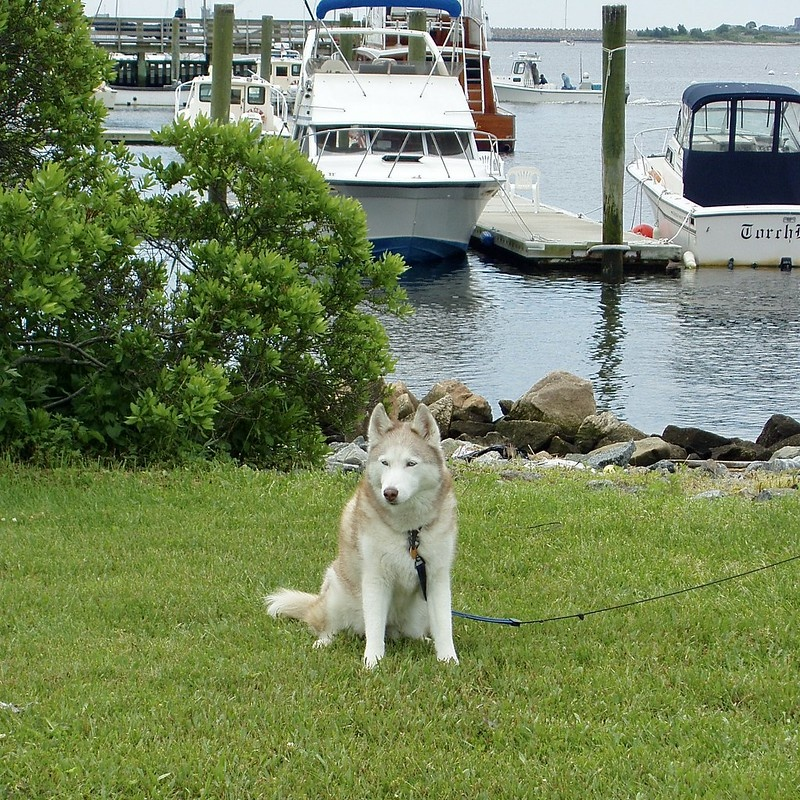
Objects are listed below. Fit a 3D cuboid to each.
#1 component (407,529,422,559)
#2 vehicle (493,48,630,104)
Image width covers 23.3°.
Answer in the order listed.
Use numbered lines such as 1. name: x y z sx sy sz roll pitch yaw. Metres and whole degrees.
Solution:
1. component: 0.128 1.183 15.772 0.068 0.254 0.116 0 -9 -5
2. vehicle: 8.442 -18.407 110.009 4.951 2.804 11.610 4 12 17
